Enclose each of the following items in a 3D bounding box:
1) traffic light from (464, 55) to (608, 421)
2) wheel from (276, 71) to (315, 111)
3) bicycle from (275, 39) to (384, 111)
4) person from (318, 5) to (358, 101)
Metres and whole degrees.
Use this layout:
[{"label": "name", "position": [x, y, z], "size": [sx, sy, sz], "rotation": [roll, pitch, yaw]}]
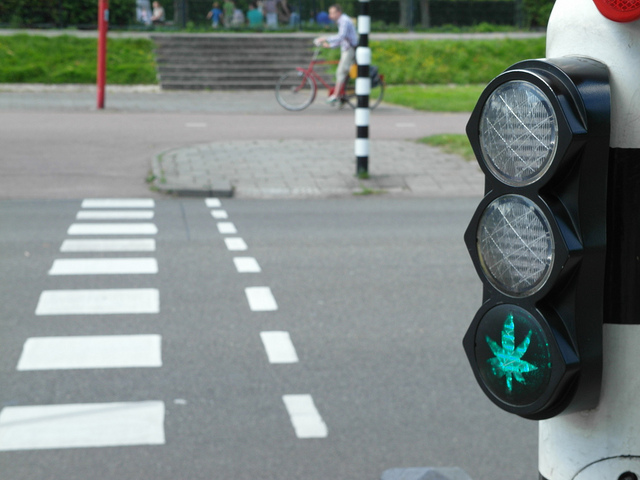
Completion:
[{"label": "traffic light", "position": [0.527, -0.004, 2.164], "size": [0.359, 0.893, 0.159], "rotation": [5, 11, 22]}, {"label": "wheel", "position": [-0.337, -2.056, 11.996], "size": [0.625, 0.532, 0.141], "rotation": [-7, 13, -33]}, {"label": "bicycle", "position": [0.159, -2.238, 11.968], "size": [1.546, 1.153, 0.813], "rotation": [1, 44, -3]}, {"label": "person", "position": [0.244, -2.538, 11.928], "size": [0.503, 1.308, 1.030], "rotation": [1, 11, 0]}]
